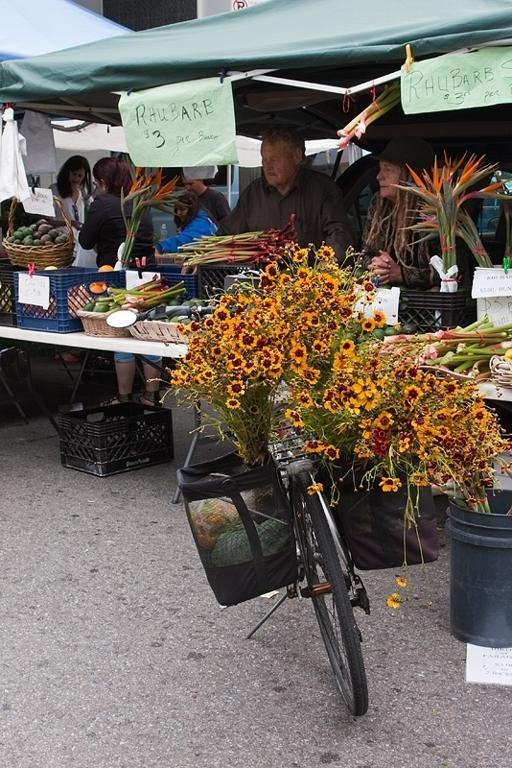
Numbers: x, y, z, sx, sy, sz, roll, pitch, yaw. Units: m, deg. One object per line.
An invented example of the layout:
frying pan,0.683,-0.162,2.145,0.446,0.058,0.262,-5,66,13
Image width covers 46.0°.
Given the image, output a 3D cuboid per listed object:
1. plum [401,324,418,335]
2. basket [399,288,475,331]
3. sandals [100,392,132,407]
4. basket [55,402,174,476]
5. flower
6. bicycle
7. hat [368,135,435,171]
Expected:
plum,0.725,-0.265,2.876,0.052,0.031,0.071,6,19,24
basket,0.858,-0.346,2.880,0.272,0.158,0.267,-4,5,-44
sandals,-1.110,0.134,4.767,0.323,0.131,0.111,-1,1,-1
basket,-1.080,0.402,4.402,0.633,0.371,0.615,-8,12,-42
flower,0.215,0.133,1.520,0.854,0.993,0.544,0,1,2
bicycle,0.191,0.506,1.683,0.308,0.426,0.842,-17,-2,1
hat,0.895,-1.327,3.491,0.324,0.142,0.228,14,12,-20
